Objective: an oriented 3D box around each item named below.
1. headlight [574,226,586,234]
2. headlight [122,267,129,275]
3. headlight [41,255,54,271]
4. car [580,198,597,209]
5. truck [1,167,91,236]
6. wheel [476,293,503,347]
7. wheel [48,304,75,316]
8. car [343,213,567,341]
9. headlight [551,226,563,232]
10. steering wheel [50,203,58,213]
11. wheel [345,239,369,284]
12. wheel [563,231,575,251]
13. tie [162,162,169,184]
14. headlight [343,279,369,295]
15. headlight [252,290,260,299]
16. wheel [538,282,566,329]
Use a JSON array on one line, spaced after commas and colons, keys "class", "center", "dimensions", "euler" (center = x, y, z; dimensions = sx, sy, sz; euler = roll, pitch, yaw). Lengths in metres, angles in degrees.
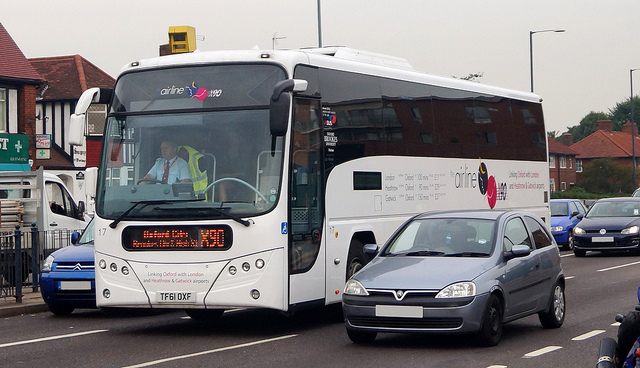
[{"class": "headlight", "center": [10.544, 1.868, 28.672], "dimensions": [0.239, 0.263, 0.497], "euler": [-1, 1, -21]}, {"class": "headlight", "center": [-3.992, 1.783, 14.469], "dimensions": [0.132, 0.128, 0.043], "euler": [-6, -7, 9]}, {"class": "headlight", "center": [-6.694, 1.940, 17.362], "dimensions": [0.240, 0.359, 0.448], "euler": [-2, 1, -36]}, {"class": "car", "center": [20.455, 1.465, 53.871], "dimensions": [1.078, 1.217, 4.120], "euler": [-2, -2, 24]}, {"class": "truck", "center": [-8.553, 0.557, 22.435], "dimensions": [1.648, 1.950, 3.890], "euler": [0, 1, 20]}, {"class": "wheel", "center": [3.147, 2.530, 13.162], "dimensions": [0.359, 0.983, 1.002], "euler": [-2, 5, 25]}, {"class": "wheel", "center": [-6.470, 3.116, 17.628], "dimensions": [0.596, 0.339, 0.542], "euler": [-1, 1, -19]}, {"class": "car", "center": [2.762, 1.854, 13.966], "dimensions": [4.498, 2.461, 1.972], "euler": [-2, 1, -32]}, {"class": "headlight", "center": [10.668, 2.020, 31.815], "dimensions": [0.553, 0.218, 0.213], "euler": [-1, 1, -18]}, {"class": "steering wheel", "center": [-8.388, 0.755, 22.279], "dimensions": [0.109, 0.306, 0.288], "euler": [0, 1, 24]}, {"class": "wheel", "center": [0.855, 1.676, 15.909], "dimensions": [0.269, 0.865, 0.896], "euler": [0, 1, 28]}, {"class": "wheel", "center": [11.230, 2.527, 31.847], "dimensions": [0.371, 1.104, 1.128], "euler": [-4, -2, 26]}, {"class": "tie", "center": [-3.130, -0.219, 14.294], "dimensions": [0.176, 0.407, 0.089], "euler": [-1, 1, 10]}, {"class": "headlight", "center": [0.683, 1.954, 13.380], "dimensions": [0.378, 0.169, 0.262], "euler": [6, 0, 14]}, {"class": "headlight", "center": [-1.281, 2.207, 14.080], "dimensions": [0.153, 0.149, 0.150], "euler": [14, 3, -9]}, {"class": "wheel", "center": [4.855, 2.557, 14.812], "dimensions": [0.316, 0.947, 0.969], "euler": [-6, 3, 33]}]
